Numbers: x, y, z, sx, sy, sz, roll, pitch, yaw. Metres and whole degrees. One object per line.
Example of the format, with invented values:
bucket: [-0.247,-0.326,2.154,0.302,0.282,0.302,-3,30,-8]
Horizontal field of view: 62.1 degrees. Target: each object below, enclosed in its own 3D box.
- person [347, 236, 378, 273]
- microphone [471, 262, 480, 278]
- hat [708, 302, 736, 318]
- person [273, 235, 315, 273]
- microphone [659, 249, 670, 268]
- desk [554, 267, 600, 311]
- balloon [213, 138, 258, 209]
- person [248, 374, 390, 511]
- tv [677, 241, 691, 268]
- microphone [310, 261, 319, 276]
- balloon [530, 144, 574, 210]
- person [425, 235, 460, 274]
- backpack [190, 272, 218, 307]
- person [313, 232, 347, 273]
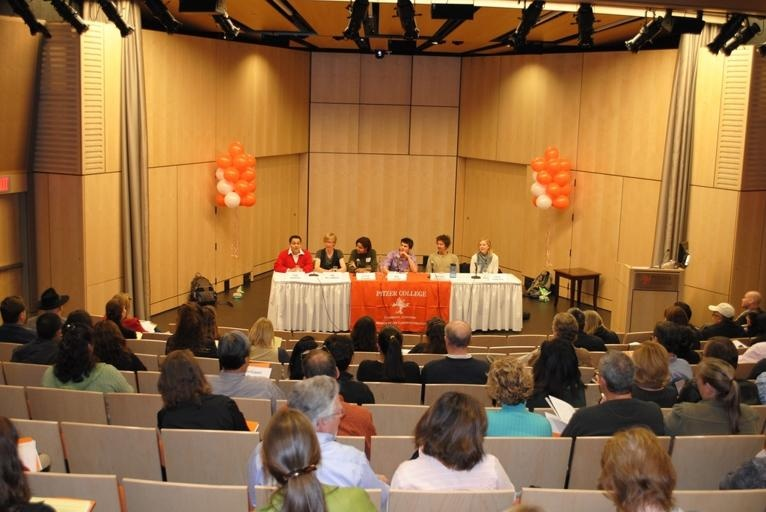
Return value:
person: [-0.368,0.011,11.192,0.615,0.915,0.548,1,5,6]
microphone: [1.560,0.244,11.051,0.198,0.219,0.233,-1,3,2]
hat: [4.842,0.761,9.052,0.250,0.165,0.387,-9,15,-35]
person: [-1.563,0.039,11.142,0.693,1.125,0.627,-1,-1,-7]
microphone: [4.892,0.018,11.031,0.143,0.278,0.222,0,2,0]
desk: [3.847,0.651,12.668,1.163,0.677,1.220,1,6,3]
balloon: [-2.888,-1.574,12.354,0.701,1.206,0.337,0,3,-15]
person: [-0.407,1.216,4.096,0.629,1.276,0.642,5,16,8]
tv: [4.837,-0.019,10.278,0.165,0.428,0.387,2,2,27]
microphone: [-1.170,0.229,10.894,0.172,0.259,0.252,-2,-11,5]
balloon: [3.477,-1.594,13.268,1.092,1.470,1.110,0,1,1]
person: [1.054,0.045,11.358,0.569,0.887,0.422,5,11,13]
backpack: [-3.156,0.577,11.062,0.427,0.595,0.345,10,-45,-33]
person: [-0.941,0.016,11.145,0.572,0.802,0.745,-4,17,-24]
